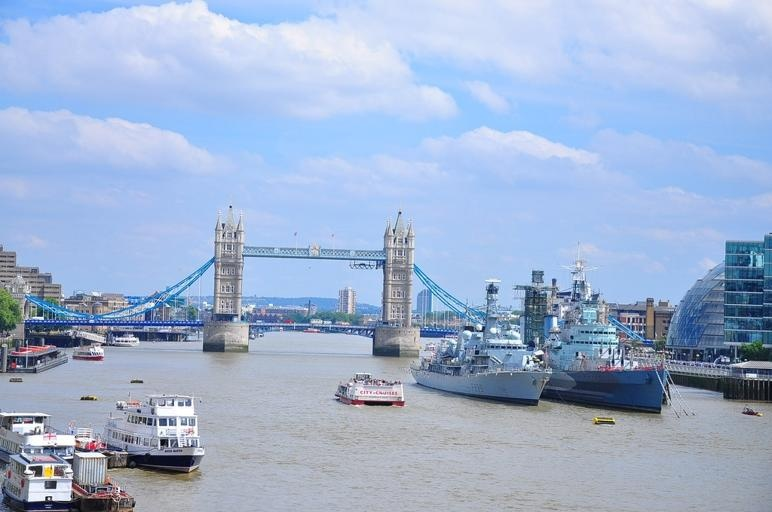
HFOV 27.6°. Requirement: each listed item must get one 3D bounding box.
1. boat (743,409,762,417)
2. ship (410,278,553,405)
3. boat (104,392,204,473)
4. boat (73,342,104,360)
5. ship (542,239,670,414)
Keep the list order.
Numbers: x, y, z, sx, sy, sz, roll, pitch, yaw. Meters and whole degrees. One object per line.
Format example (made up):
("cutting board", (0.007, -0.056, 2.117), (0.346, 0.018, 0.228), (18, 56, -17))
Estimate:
("boat", (36.196, 15.586, 155.016), (1.892, 0.659, 2.148), (1, -4, 12))
("ship", (10.242, 9.164, 169.969), (8.215, 11.366, 29.578), (-6, 1, -20))
("boat", (-19.613, 14.615, 129.998), (4.235, 4.334, 10.860), (1, -2, -37))
("boat", (-39.925, 13.585, 212.644), (2.832, 3.351, 9.555), (2, 2, -18))
("ship", (21.422, 8.318, 164.481), (7.809, 13.278, 25.125), (2, 3, -29))
